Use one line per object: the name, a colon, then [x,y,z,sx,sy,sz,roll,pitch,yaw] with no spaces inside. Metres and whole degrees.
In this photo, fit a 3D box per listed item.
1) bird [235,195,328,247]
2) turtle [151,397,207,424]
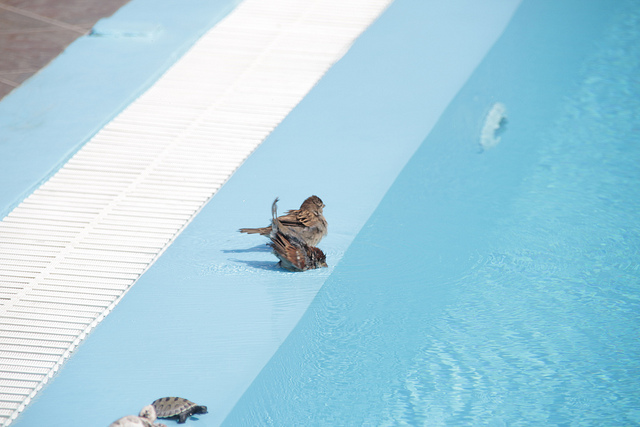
bird: [-0.286,0.086,7.765,0.800,0.390,0.308,-4,23,5]
turtle: [-1.039,1.412,6.816,0.293,0.186,0.070,2,95,11]
